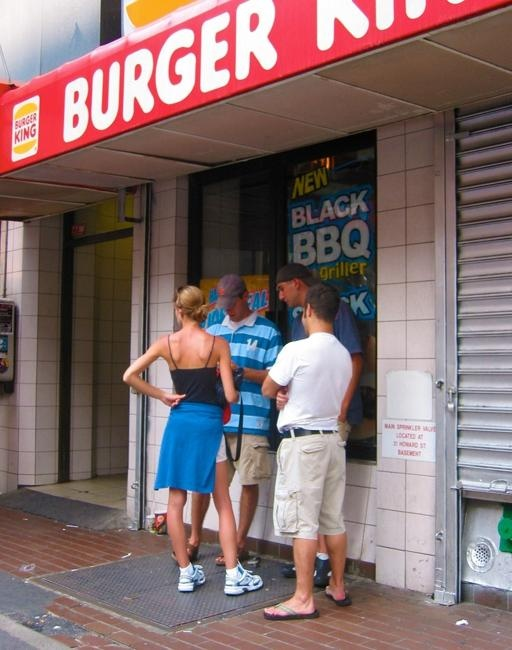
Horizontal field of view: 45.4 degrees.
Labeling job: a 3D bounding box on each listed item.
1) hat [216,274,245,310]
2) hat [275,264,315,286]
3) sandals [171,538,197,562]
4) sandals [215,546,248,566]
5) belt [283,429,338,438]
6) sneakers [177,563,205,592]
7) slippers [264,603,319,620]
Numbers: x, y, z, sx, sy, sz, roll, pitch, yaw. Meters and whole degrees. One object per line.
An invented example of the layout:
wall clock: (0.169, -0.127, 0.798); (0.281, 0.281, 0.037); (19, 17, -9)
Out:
hat: (-0.152, -0.244, 4.330); (0.168, 0.142, 0.250); (2, 40, 27)
hat: (0.264, -0.336, 4.117); (0.205, 0.112, 0.140); (-5, 7, -5)
sandals: (-0.511, 1.625, 4.422); (0.110, 0.125, 0.302); (1, -29, 16)
sandals: (-0.170, 1.629, 4.295); (0.092, 0.111, 0.267); (-5, -19, 19)
belt: (0.284, 0.584, 3.298); (0.298, 0.058, 0.162); (-1, -7, 5)
sneakers: (-0.392, 1.540, 3.783); (0.098, 0.112, 0.244); (-2, 1, 18)
slippers: (0.175, 1.494, 3.225); (0.201, 0.057, 0.102); (3, -15, 2)
